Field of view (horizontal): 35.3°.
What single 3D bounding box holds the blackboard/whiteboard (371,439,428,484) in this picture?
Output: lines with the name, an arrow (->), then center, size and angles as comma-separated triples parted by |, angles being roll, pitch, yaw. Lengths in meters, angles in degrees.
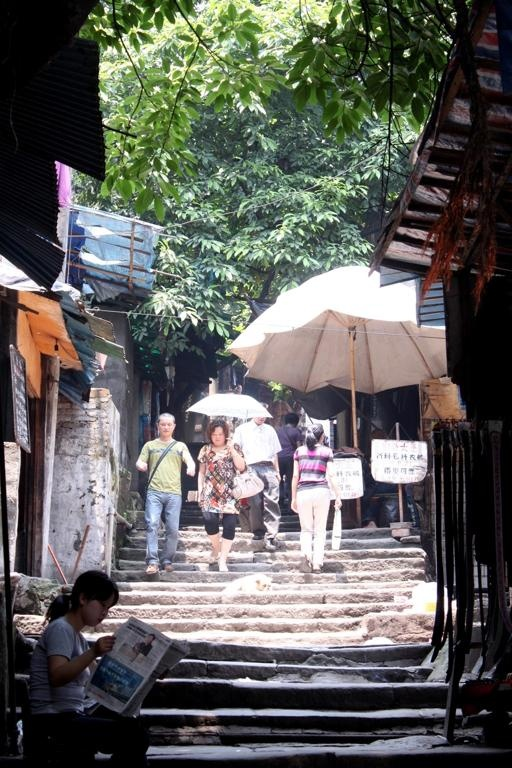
blackboard/whiteboard -> 1.932, 1.027, 10.832 | 0.697, 0.567, 0.038 | 1, 0, -2

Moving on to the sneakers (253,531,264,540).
sneakers -> 0.035, 2.053, 10.990 | 0.112, 0.045, 0.109 | -1, 9, 4

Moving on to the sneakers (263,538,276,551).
sneakers -> 0.195, 2.143, 10.763 | 0.081, 0.164, 0.237 | 12, -28, -29

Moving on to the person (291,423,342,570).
person -> 0.728, 1.397, 10.057 | 0.573, 1.788, 0.827 | 1, -8, 8

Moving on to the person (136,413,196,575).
person -> -1.129, 1.299, 10.001 | 0.684, 1.968, 1.432 | 3, -8, -7

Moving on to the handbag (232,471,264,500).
handbag -> -0.116, 1.266, 10.163 | 0.460, 0.427, 0.176 | 0, -26, -39

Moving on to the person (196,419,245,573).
person -> -0.419, 1.336, 10.042 | 0.573, 1.862, 0.736 | 4, -8, -10

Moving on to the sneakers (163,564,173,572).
sneakers -> -1.022, 2.138, 9.432 | 0.108, 0.102, 0.153 | 4, -8, -17
